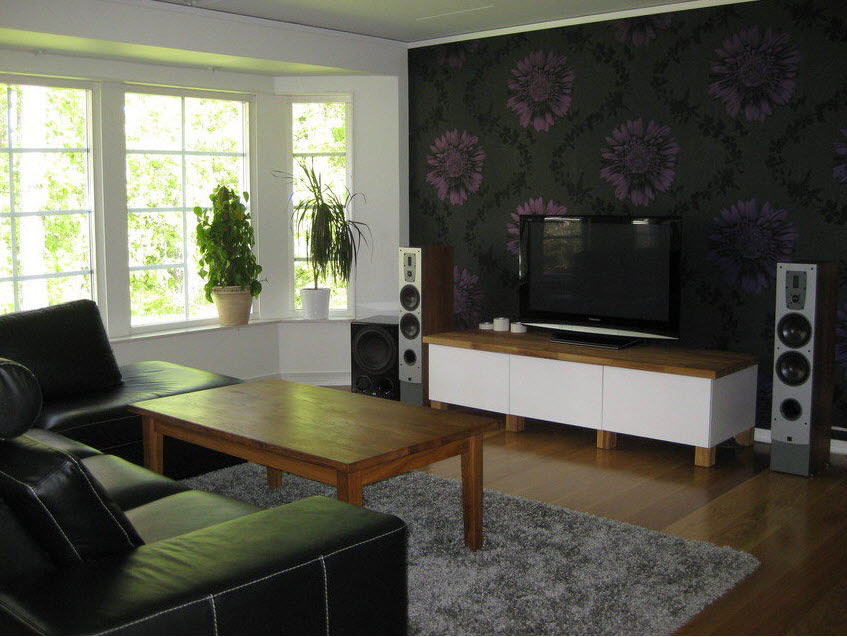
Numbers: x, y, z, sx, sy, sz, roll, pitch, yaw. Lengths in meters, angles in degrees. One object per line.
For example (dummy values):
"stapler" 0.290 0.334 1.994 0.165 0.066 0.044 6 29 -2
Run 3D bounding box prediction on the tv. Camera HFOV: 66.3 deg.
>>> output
"tv" 1.337 -0.276 4.778 0.965 0.732 0.127 5 10 39

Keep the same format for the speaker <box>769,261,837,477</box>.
"speaker" 2.392 0.303 4.053 0.500 1.306 0.255 -4 9 -28

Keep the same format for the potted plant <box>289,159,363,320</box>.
"potted plant" -0.911 -0.755 6.073 0.703 1.541 0.502 1 8 4
